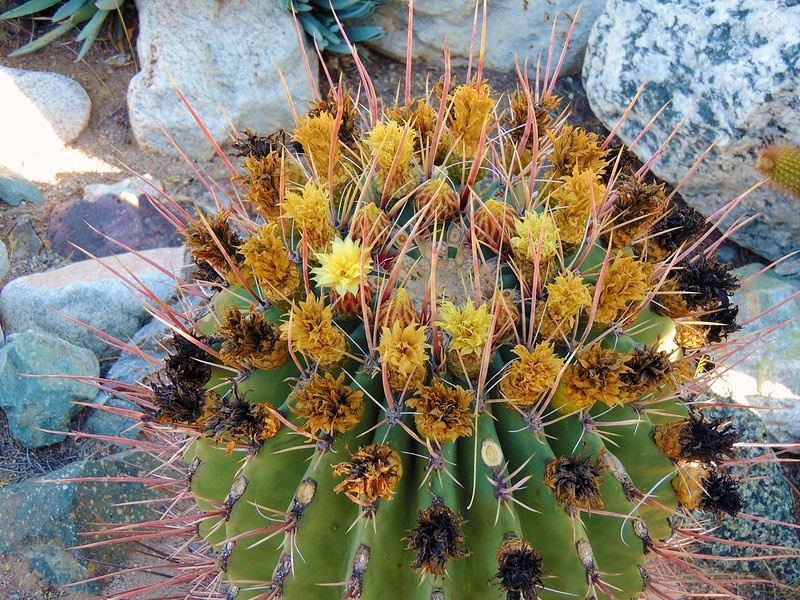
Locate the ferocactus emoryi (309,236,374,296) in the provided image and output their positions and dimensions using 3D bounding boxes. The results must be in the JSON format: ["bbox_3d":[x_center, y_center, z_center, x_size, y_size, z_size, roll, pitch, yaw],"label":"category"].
[{"bbox_3d":[-0.315,-0.182,4.241,0.311,0.136,0.338,11,91,3],"label":"ferocactus emoryi"}]

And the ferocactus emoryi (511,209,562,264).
[{"bbox_3d":[0.793,-0.367,4.479,0.247,0.294,0.317,1,23,2],"label":"ferocactus emoryi"}]

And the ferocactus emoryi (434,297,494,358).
[{"bbox_3d":[0.367,0.157,4.243,0.281,0.127,0.311,12,87,10],"label":"ferocactus emoryi"}]
